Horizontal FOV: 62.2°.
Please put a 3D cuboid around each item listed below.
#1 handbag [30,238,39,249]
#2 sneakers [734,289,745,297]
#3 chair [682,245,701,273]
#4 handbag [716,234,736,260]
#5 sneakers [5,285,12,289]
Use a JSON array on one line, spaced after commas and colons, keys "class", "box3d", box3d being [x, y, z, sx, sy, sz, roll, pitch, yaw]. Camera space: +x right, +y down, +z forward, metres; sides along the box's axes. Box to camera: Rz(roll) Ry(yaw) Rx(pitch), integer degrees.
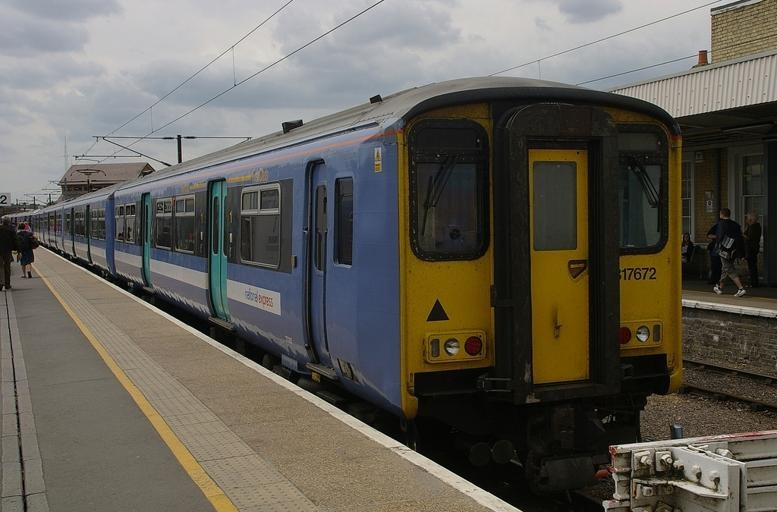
[{"class": "handbag", "box3d": [-12.165, -0.410, 21.990, 0.149, 0.430, 0.419, 0, 3, 29]}, {"class": "sneakers", "box3d": [8.226, 0.858, 15.031, 0.203, 0.165, 0.355, 3, 4, 25]}, {"class": "chair", "box3d": [8.808, 0.102, 18.742, 0.380, 0.705, 0.720, -2, 5, -15]}, {"class": "handbag", "box3d": [8.046, -0.187, 15.314, 0.382, 0.567, 0.255, 3, 4, 27]}, {"class": "sneakers", "box3d": [-10.831, 0.901, 18.291, 0.125, 0.098, 0.126, -9, -11, 44]}]
